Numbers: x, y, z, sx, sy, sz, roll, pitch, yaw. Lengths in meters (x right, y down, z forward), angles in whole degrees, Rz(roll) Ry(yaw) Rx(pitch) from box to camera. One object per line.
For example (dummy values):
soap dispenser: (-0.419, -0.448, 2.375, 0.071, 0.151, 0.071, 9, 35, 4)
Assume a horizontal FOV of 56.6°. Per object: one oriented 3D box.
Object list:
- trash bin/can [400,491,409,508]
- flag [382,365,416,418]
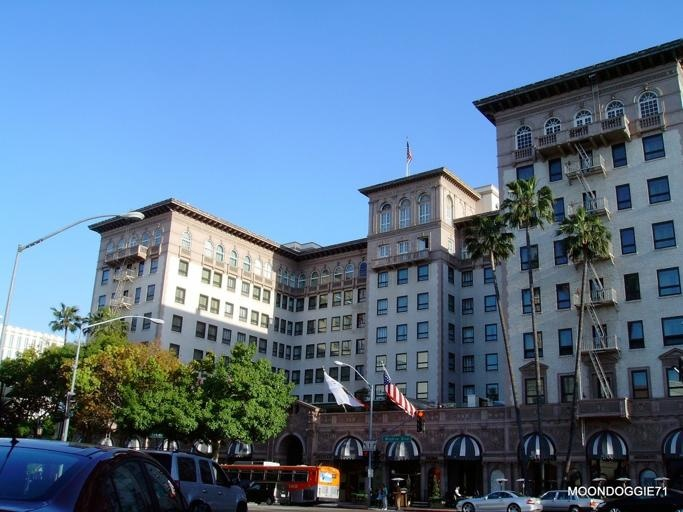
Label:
trash bin/can: (5.287, 20.523, 53.443, 0.995, 1.480, 1.000, -3, -10, 9)
flag: (5.761, 13.245, 61.587, 0.648, 3.966, 5.447, -22, -42, 20)
